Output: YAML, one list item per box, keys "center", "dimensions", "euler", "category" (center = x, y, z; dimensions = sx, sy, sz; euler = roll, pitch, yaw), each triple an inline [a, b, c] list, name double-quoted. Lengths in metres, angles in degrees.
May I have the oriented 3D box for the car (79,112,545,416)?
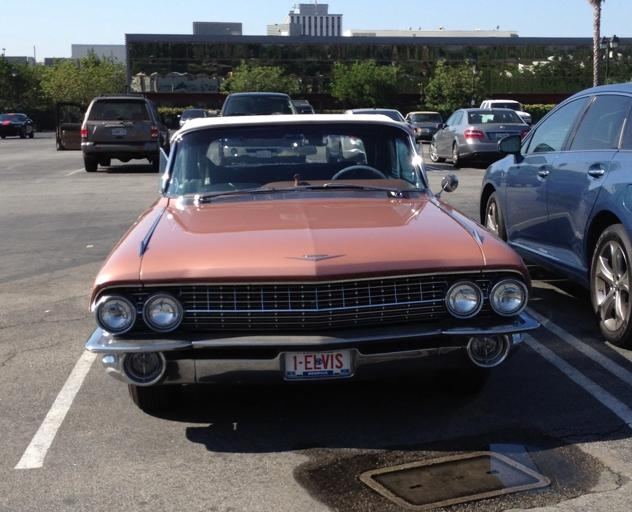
- center: [-0.161, -0.170, 4.384]
  dimensions: [2.502, 1.540, 2.309]
  euler: [-3, 13, -10]
  category: "car"
